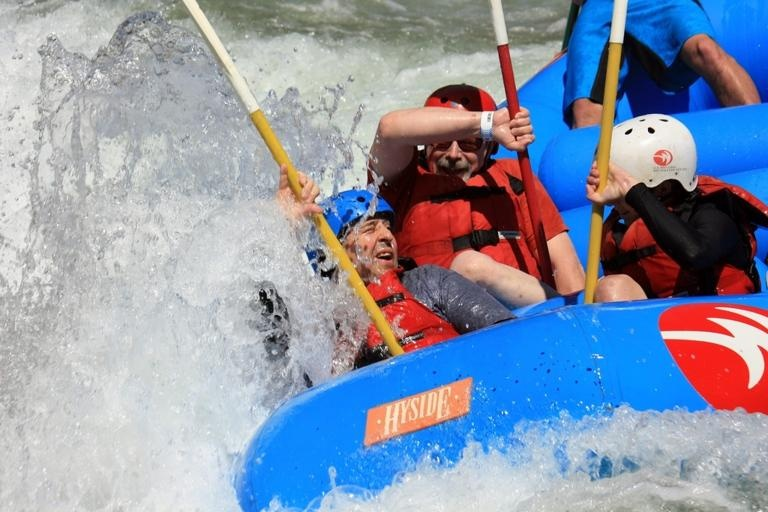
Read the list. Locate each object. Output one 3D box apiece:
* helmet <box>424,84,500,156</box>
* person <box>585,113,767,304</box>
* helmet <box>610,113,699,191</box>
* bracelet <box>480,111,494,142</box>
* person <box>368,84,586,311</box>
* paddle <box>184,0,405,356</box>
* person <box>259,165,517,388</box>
[{"bbox_3d":[0.409,-0.691,5.519,0.301,0.390,0.385,3,69,1],"label":"helmet"},{"bbox_3d":[1.239,-0.219,5.145,0.891,0.792,1.048,-7,92,-4],"label":"person"},{"bbox_3d":[1.251,-0.488,4.959,0.401,0.311,0.319,-20,106,0],"label":"helmet"},{"bbox_3d":[0.510,-0.648,5.088,0.080,0.044,0.118,2,89,40],"label":"bracelet"},{"bbox_3d":[0.444,-0.254,5.348,0.905,0.504,1.275,-4,66,-9],"label":"person"},{"bbox_3d":[-0.489,-0.392,5.346,0.095,0.183,2.696,-31,97,3],"label":"paddle"},{"bbox_3d":[0.077,0.134,4.845,0.792,0.427,1.097,-19,41,-18],"label":"person"}]
